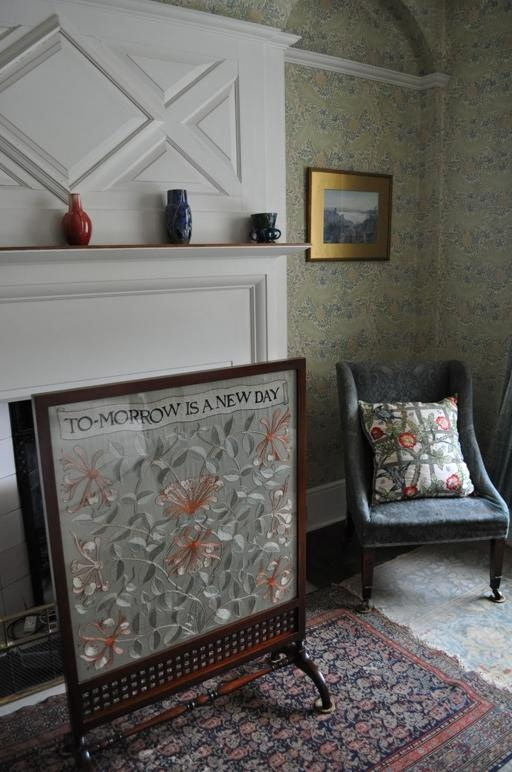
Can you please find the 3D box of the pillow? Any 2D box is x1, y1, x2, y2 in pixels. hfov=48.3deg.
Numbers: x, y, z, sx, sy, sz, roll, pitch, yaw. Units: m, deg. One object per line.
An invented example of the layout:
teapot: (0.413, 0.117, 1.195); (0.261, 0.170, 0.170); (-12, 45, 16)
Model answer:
pillow: (0.621, 0.249, 2.201); (0.394, 0.338, 0.253); (-3, 11, -2)

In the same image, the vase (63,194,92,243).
vase: (-0.527, -0.484, 1.675); (0.085, 0.156, 0.177); (-6, 11, -17)

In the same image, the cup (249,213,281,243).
cup: (0.035, -0.558, 2.040); (0.116, 0.104, 0.100); (-1, 11, 5)

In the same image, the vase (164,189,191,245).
vase: (-0.255, -0.553, 1.878); (0.085, 0.168, 0.129); (-4, 11, -7)

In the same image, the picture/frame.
picture/frame: (0.413, -0.789, 2.588); (0.504, 0.388, 0.021); (-8, 12, -40)
